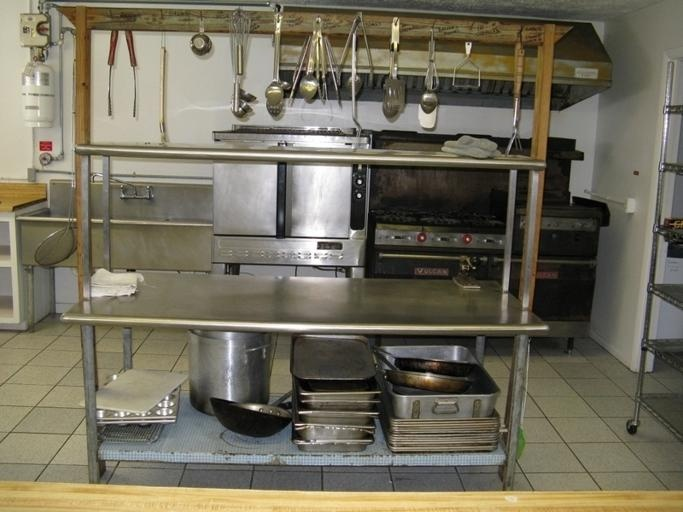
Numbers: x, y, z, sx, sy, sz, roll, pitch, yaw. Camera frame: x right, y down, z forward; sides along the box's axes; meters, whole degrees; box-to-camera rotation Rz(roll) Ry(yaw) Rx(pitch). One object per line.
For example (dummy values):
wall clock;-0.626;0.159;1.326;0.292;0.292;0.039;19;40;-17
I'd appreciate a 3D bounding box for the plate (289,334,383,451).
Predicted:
plate;-0.032;0.678;3.089;0.448;0.498;0.394;0;13;-1

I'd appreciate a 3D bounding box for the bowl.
bowl;0.498;0.624;3.003;0.471;0.102;0.425;0;17;-1

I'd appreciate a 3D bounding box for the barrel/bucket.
barrel/bucket;-0.573;0.571;3.387;0.584;0.416;0.477;3;7;8

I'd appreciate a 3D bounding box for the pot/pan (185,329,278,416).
pot/pan;-0.573;0.577;3.393;0.584;0.419;0.477;3;7;8
